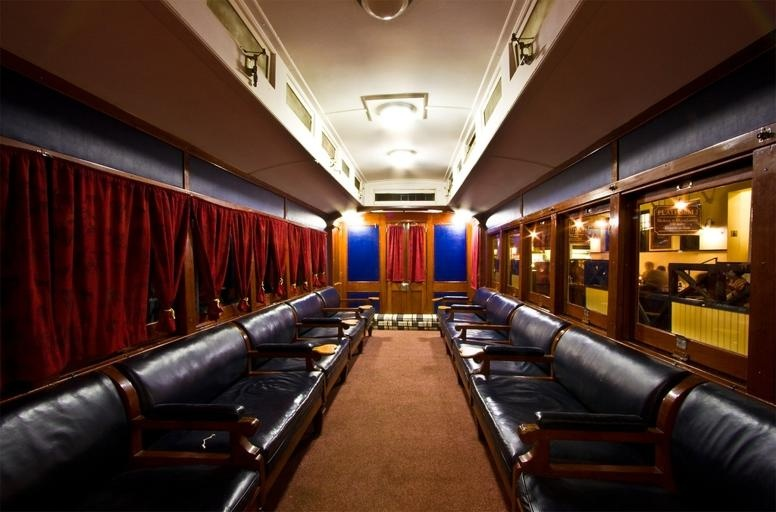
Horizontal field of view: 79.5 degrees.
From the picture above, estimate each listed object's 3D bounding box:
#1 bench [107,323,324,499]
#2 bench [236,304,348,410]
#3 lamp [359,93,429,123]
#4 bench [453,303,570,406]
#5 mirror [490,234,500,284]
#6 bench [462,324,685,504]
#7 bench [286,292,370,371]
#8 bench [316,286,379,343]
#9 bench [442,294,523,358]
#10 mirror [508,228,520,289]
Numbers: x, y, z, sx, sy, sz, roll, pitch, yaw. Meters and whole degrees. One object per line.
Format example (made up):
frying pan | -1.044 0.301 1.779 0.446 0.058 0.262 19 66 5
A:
bench | -1.310 1.294 4.182 1.106 1.151 1.900 0 4 5
bench | -0.983 1.062 5.166 0.897 0.870 1.681 0 1 4
lamp | 0.089 -1.702 5.401 0.762 0.150 0.607 -2 -1 3
bench | 1.194 0.961 5.220 0.907 0.788 1.614 -1 7 -4
mirror | 1.627 0.085 7.074 0.119 0.636 0.670 -2 -1 9
bench | 1.419 1.201 4.104 1.231 1.009 2.056 5 3 3
bench | -0.712 0.925 6.603 0.785 0.812 1.863 -1 3 9
bench | -0.651 0.869 7.009 0.796 0.739 0.701 0 4 10
bench | 1.155 0.893 6.456 0.803 0.730 1.963 0 3 -2
mirror | 1.730 0.065 6.465 0.121 0.687 0.522 -2 -1 9
